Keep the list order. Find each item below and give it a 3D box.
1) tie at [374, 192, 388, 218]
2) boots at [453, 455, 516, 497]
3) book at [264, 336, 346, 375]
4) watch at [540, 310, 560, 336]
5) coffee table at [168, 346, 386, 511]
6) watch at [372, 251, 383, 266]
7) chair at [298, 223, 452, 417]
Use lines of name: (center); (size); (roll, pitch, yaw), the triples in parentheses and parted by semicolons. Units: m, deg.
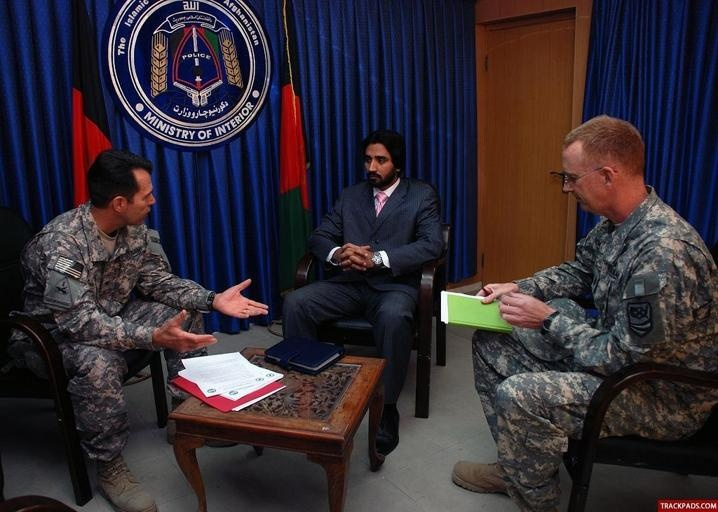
tie: (0.135, -0.329, 3.598); (0.082, 0.153, 0.036); (-4, -14, 25)
boots: (0.575, 1.024, 2.699); (0.318, 0.138, 0.119); (8, 12, 15)
book: (-0.263, 0.452, 2.563); (0.199, 0.048, 0.176); (8, 15, 32)
watch: (0.805, 0.283, 2.449); (0.037, 0.097, 0.075); (39, -12, 13)
coffee table: (-0.310, 0.792, 2.475); (0.737, 0.543, 0.611); (0, 11, 16)
watch: (0.099, 0.013, 3.354); (0.051, 0.080, 0.080); (0, 28, -6)
chair: (0.030, 0.426, 3.170); (0.708, 0.889, 0.821); (-6, 19, 24)
